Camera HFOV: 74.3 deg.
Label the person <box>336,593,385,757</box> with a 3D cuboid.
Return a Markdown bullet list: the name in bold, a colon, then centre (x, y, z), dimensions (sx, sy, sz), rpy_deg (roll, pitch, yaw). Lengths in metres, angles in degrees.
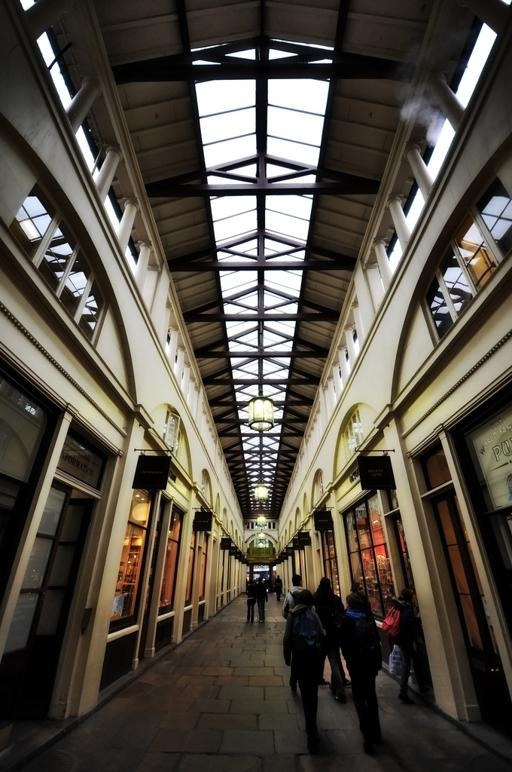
- **person**: centre (0.983, 2.501, 3.044), dimensions (0.338, 1.063, 0.512), rpy_deg (-10, -26, 15)

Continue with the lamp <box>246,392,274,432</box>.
- **lamp**: centre (0.207, 0.900, 10.802), dimensions (0.960, 1.237, 0.956), rpy_deg (-3, -48, 3)

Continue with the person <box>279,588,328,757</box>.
- **person**: centre (0.480, 2.506, 3.074), dimensions (0.375, 1.138, 0.761), rpy_deg (-6, -26, 7)

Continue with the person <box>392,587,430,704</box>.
- **person**: centre (1.891, 3.148, 4.180), dimensions (0.399, 1.127, 1.043), rpy_deg (-12, -27, 19)
